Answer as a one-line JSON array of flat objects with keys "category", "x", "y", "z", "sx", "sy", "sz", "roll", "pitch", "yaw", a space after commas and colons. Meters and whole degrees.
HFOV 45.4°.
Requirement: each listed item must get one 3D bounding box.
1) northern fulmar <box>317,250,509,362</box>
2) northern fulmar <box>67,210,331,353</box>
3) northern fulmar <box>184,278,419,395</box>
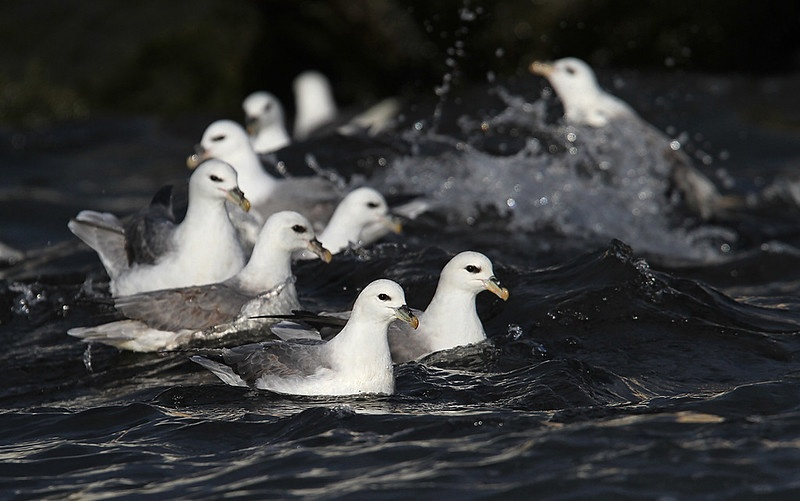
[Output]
[{"category": "northern fulmar", "x": -0.143, "y": 0.620, "z": 10.359, "sx": 2.414, "sy": 1.290, "sz": 0.932, "roll": -1, "pitch": 8, "yaw": 11}, {"category": "northern fulmar", "x": -2.314, "y": 0.434, "z": 11.017, "sx": 3.133, "sy": 1.560, "sz": 1.030, "roll": -1, "pitch": 1, "yaw": 18}, {"category": "northern fulmar", "x": -0.833, "y": 0.886, "z": 9.384, "sx": 1.995, "sy": 1.074, "sz": 0.525, "roll": -2, "pitch": 19, "yaw": 0}]
